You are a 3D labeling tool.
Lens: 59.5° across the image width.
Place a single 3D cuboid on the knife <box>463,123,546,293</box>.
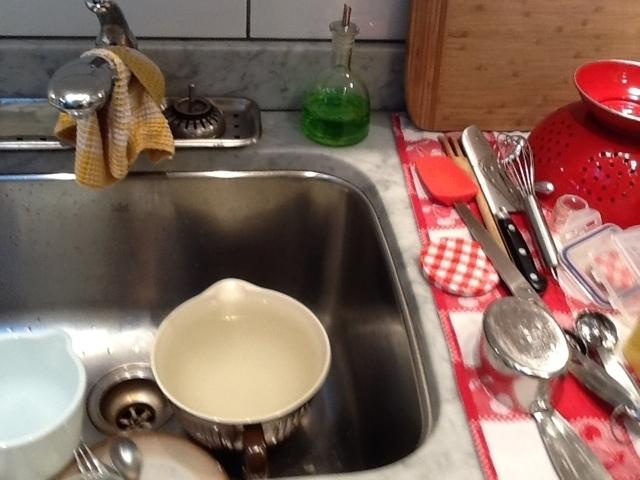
[{"bbox_3d":[0.269,-0.041,0.826,0.058,0.020,0.237,-15,55,-8],"label":"knife"}]
